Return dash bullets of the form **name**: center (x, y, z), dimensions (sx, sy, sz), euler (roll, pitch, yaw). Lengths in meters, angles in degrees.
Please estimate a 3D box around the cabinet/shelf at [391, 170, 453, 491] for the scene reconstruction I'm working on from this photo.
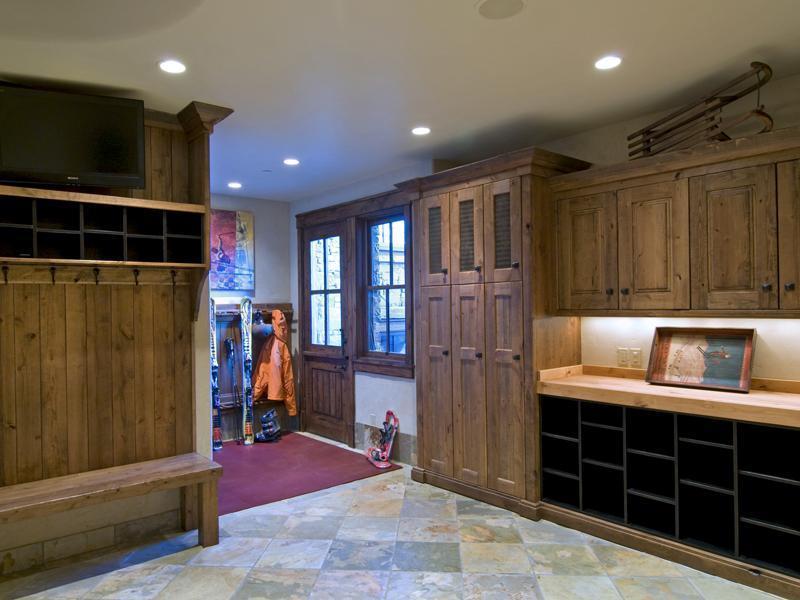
- **cabinet/shelf**: center (0.288, 0.254, 5.205), dimensions (0.242, 2.748, 0.626), euler (-4, 4, -32)

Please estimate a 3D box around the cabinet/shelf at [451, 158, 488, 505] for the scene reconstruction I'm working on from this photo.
- **cabinet/shelf**: center (0.603, 0.336, 4.995), dimensions (0.153, 2.781, 0.589), euler (-4, 5, -30)

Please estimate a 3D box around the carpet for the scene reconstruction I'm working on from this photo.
- **carpet**: center (-1.106, 1.714, 5.738), dimensions (1.469, 0.069, 1.793), euler (-3, 4, -21)

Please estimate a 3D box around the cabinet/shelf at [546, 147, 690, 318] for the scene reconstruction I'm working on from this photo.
- **cabinet/shelf**: center (1.680, -0.492, 4.288), dimensions (0.560, 1.360, 1.319), euler (1, -3, -44)
